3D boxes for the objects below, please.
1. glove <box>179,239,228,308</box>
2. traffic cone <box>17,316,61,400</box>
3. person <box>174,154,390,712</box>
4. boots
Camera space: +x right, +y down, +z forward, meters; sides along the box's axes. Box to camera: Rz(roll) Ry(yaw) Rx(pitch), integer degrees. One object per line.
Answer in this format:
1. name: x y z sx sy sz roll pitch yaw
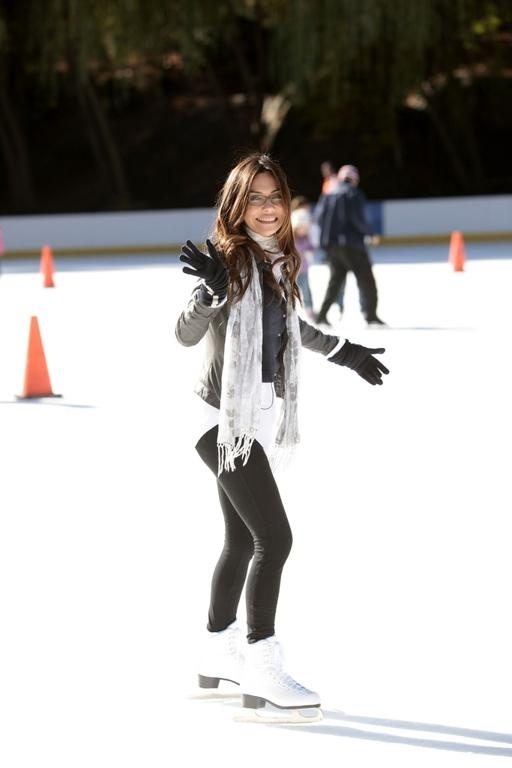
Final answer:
1. glove: -0.115 -0.248 2.049 0.106 0.140 0.238 -2 10 -2
2. traffic cone: -1.484 -0.189 6.211 0.273 0.555 0.384 -4 11 -13
3. person: 0.010 0.106 2.262 0.379 1.316 0.566 -1 11 5
4. boots: 0.018 0.680 2.278 0.403 0.215 0.130 3 3 44
